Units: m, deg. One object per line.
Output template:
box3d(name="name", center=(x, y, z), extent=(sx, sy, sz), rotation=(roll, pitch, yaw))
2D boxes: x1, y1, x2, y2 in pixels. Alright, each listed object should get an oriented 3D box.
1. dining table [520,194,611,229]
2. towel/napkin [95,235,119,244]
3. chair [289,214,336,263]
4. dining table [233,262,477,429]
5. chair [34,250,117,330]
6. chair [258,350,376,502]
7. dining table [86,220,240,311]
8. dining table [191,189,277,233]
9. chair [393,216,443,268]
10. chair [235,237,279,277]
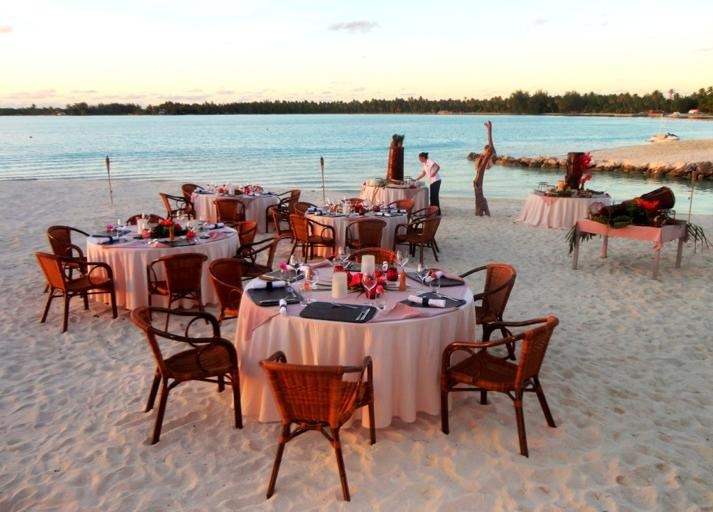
box3d(name="dining table", center=(5.248, -1.137, 13.513), extent=(1.577, 0.462, 1.415), rotation=(-6, 17, -20))
box3d(name="towel/napkin", center=(-3.850, -0.247, 7.794), extent=(0.250, 0.071, 0.221), rotation=(4, 9, 8))
box3d(name="chair", center=(-0.838, -0.371, 10.147), extent=(0.707, 0.902, 0.807), rotation=(-20, 30, -37))
box3d(name="dining table", center=(0.049, 0.894, 5.023), extent=(1.901, 0.763, 1.655), rotation=(-1, 11, -5))
box3d(name="chair", center=(-4.239, 0.397, 7.588), extent=(1.024, 1.093, 1.263), rotation=(-13, 18, -33))
box3d(name="chair", center=(-0.320, 1.423, 4.631), extent=(0.958, 1.235, 0.869), rotation=(-1, 16, 3))
box3d(name="dining table", center=(-3.105, 0.025, 8.231), extent=(1.821, 0.707, 1.601), rotation=(1, 10, -7))
box3d(name="dining table", center=(-2.977, -1.243, 13.076), extent=(1.587, 0.571, 1.348), rotation=(1, 11, -3))
box3d(name="chair", center=(1.209, -0.266, 10.082), extent=(0.846, 1.021, 0.817), rotation=(-22, 40, -31))
box3d(name="chair", center=(-1.651, 0.028, 8.424), extent=(0.635, 0.672, 0.563), rotation=(9, 23, 4))
